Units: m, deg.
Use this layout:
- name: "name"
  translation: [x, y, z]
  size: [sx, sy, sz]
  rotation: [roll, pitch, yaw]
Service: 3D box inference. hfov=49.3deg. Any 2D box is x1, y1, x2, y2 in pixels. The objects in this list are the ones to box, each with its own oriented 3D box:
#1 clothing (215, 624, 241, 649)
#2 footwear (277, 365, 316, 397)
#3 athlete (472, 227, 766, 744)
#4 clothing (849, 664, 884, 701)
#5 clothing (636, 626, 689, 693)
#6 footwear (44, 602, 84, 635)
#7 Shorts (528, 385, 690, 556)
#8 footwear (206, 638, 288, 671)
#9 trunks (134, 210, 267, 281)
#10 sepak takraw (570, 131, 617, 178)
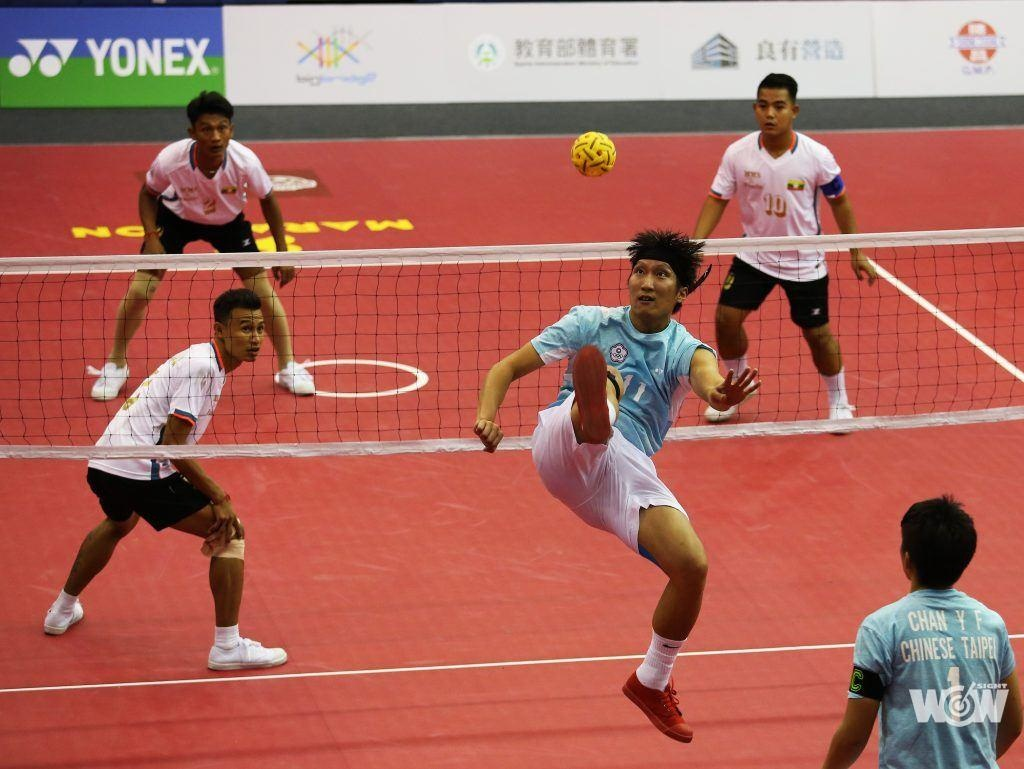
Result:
- name: "clothing"
  translation: [-1.582, 1.403, 6.245]
  size: [0.124, 0.105, 0.125]
  rotation: [-3, 3, 21]
- name: "footwear"
  translation: [-1.758, -0.032, 9.159]
  size: [0.178, 0.170, 0.395]
  rotation: [-13, 12, -22]
- name: "athlete"
  translation: [0.552, 0.187, 5.532]
  size: [1.469, 1.915, 2.533]
  rotation: [1, 50, 12]
- name: "clothing"
  translation: [1.480, 1.268, 4.733]
  size: [0.142, 0.115, 0.144]
  rotation: [2, 4, -3]
- name: "clothing"
  translation: [0.687, 1.399, 5.562]
  size: [0.148, 0.318, 0.332]
  rotation: [29, -18, -24]
- name: "footwear"
  translation: [-2.618, 1.368, 6.504]
  size: [0.110, 0.137, 0.298]
  rotation: [3, 11, 7]
- name: "Shorts"
  translation: [0.465, 0.450, 5.622]
  size: [0.717, 0.769, 0.427]
  rotation: [1, 10, 0]
- name: "footwear"
  translation: [-1.489, 1.521, 6.316]
  size: [0.437, 0.171, 0.181]
  rotation: [0, 7, -10]
- name: "trunks"
  translation: [-2.517, -1.110, 8.999]
  size: [0.951, 0.534, 0.879]
  rotation: [3, 44, -14]
- name: "sepak takraw"
  translation: [0.702, -1.985, 9.574]
  size: [0.316, 0.364, 0.396]
  rotation: [3, 10, 10]
